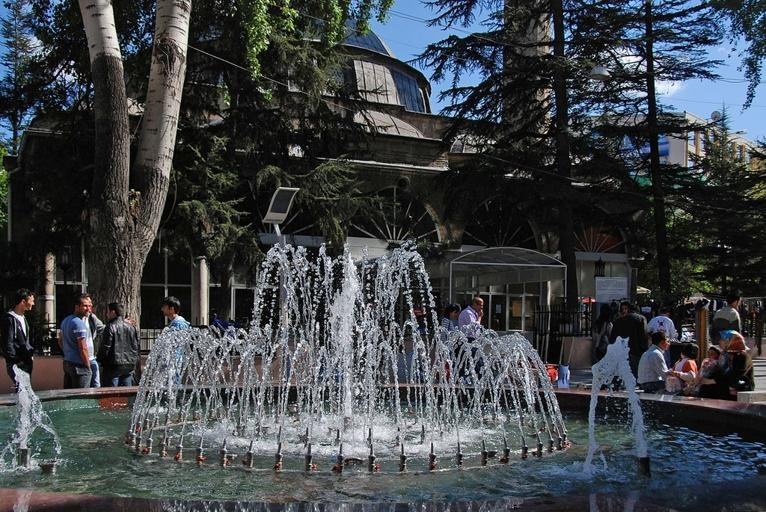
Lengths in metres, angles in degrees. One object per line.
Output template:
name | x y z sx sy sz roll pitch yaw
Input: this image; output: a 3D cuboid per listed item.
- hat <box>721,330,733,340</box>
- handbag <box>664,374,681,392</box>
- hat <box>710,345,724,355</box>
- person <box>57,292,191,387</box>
hat | 6.342 1.458 13.704 0.172 0.149 0.205 5 -10 -32
handbag | 5.324 2.351 13.667 0.307 0.327 0.100 -6 -8 41
hat | 6.143 1.717 13.667 0.175 0.221 0.230 3 6 23
person | -4.751 1.555 13.440 2.000 1.611 1.014 2 -7 -24
